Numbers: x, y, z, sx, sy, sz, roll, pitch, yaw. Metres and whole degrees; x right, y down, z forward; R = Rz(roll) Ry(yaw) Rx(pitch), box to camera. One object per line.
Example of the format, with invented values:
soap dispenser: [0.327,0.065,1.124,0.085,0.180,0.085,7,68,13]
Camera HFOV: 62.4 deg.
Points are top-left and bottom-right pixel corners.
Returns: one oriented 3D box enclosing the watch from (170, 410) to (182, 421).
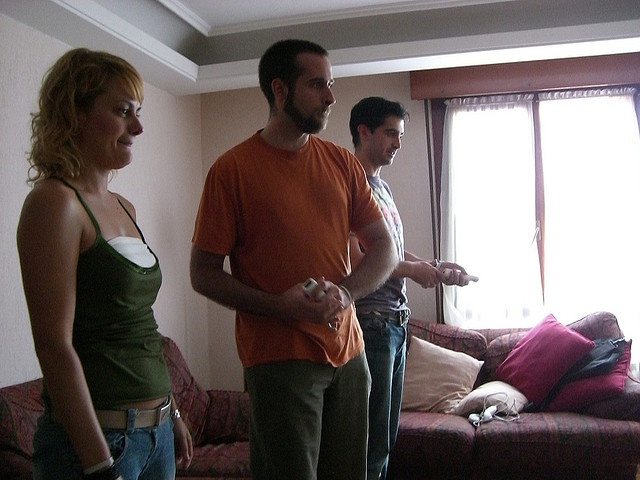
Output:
watch: [-0.517,0.624,1.891,0.028,0.034,0.010,8,18,0]

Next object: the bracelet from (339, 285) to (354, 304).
bracelet: [0.098,0.193,1.861,0.014,0.053,0.053,-30,10,3]

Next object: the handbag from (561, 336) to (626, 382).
handbag: [1.809,0.751,3.484,0.302,0.127,0.313,-37,3,8]

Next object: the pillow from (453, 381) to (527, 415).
pillow: [1.151,1.068,3.529,0.258,0.089,0.262,-25,3,-38]
